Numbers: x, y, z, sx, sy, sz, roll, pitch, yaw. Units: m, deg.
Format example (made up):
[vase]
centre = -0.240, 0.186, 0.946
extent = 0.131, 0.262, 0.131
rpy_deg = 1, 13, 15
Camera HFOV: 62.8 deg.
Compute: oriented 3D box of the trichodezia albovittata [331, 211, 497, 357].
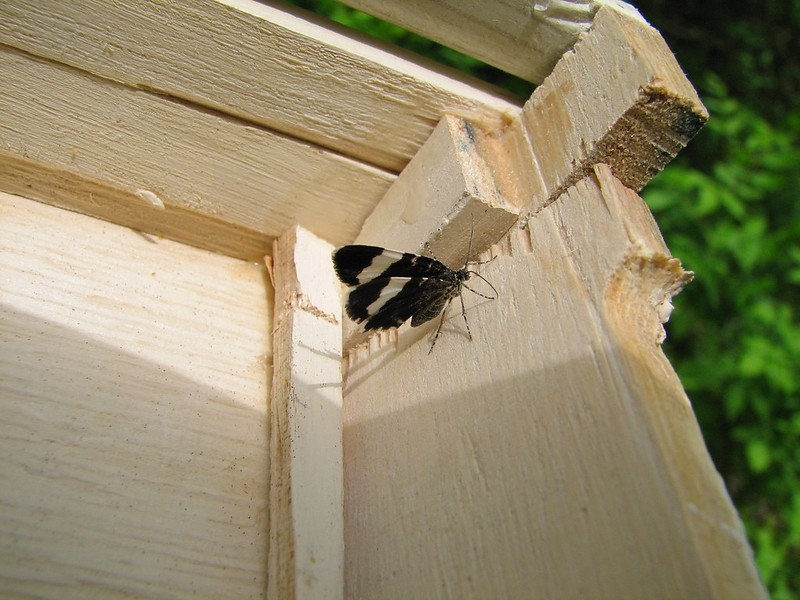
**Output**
[trichodezia albovittata]
centre = 0.001, -0.065, 2.058
extent = 0.599, 0.317, 0.291
rpy_deg = -5, 6, 6
